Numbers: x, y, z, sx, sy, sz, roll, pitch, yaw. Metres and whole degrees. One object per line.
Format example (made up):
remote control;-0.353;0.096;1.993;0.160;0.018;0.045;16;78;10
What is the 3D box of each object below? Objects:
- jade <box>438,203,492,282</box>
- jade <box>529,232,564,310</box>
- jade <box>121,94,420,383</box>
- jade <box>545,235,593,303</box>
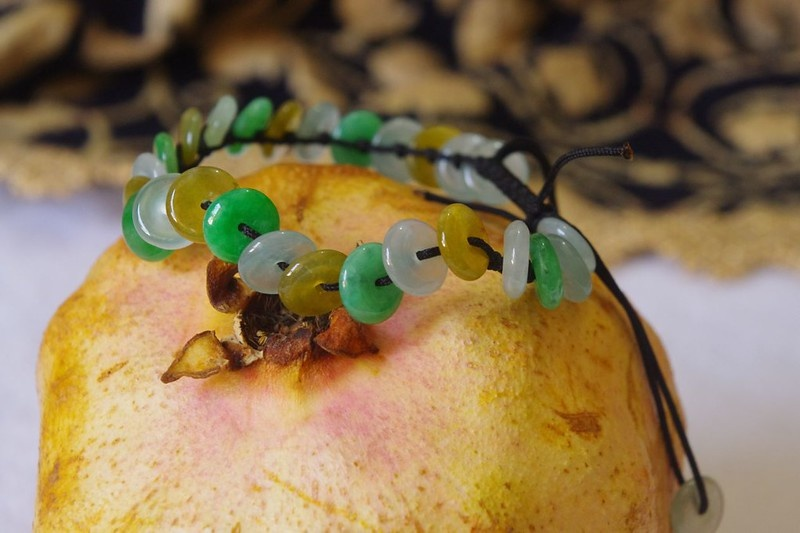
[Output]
jade;0.082;-0.027;1.228;0.088;0.027;0.086;60;26;3
jade;0.170;0.007;1.252;0.035;0.042;0.087;-12;92;-15
jade;-0.138;-0.016;1.244;0.367;0.103;0.341;-1;66;-14
jade;0.209;0.007;1.241;0.018;0.056;0.073;-29;103;-18
